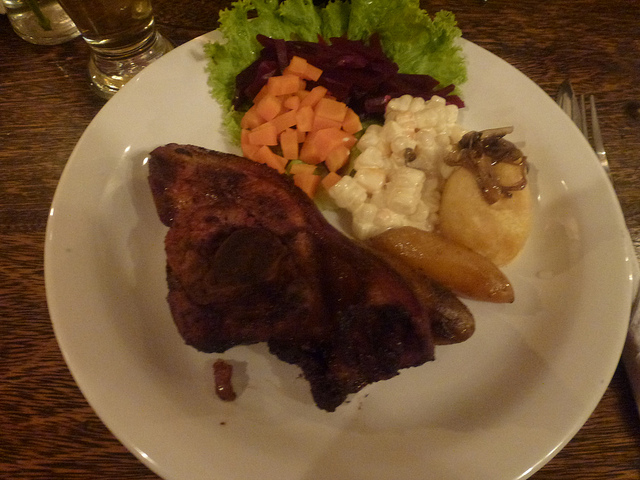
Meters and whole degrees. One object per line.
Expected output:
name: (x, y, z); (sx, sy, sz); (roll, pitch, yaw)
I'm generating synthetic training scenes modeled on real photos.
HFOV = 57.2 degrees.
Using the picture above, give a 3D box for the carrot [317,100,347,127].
carrot: (0.044, -0.532, 2.519); (0.135, 0.116, 0.102); (3, 79, -26)

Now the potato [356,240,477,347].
potato: (0.375, 0.207, 2.223); (0.449, 0.092, 0.265); (33, 43, 9)

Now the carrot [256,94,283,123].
carrot: (-0.212, -0.550, 2.464); (0.119, 0.062, 0.080); (-36, 97, 7)

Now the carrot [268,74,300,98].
carrot: (-0.152, -0.644, 2.501); (0.182, 0.099, 0.084); (-7, 40, -9)

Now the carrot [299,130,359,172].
carrot: (0.032, -0.378, 2.484); (0.174, 0.202, 0.082); (10, 46, -35)

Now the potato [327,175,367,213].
potato: (0.117, -0.187, 2.417); (0.160, 0.056, 0.154); (41, 86, 5)

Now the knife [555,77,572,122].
knife: (1.072, -0.618, 2.557); (0.067, 0.031, 0.199); (-1, 54, 16)

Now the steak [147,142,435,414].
steak: (-0.178, 0.084, 2.209); (0.795, 0.205, 1.127); (-22, 76, -13)

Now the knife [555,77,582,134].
knife: (1.081, -0.619, 2.619); (0.128, 0.416, 0.049); (-5, 75, 24)

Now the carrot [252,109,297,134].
carrot: (-0.209, -0.487, 2.472); (0.215, 0.051, 0.060); (-18, 84, 6)

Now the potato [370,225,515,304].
potato: (0.496, 0.077, 2.331); (0.608, 0.166, 0.204); (27, 61, 32)

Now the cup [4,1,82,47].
cup: (-1.273, -0.977, 2.775); (0.303, 0.260, 0.225); (4, 76, -9)
